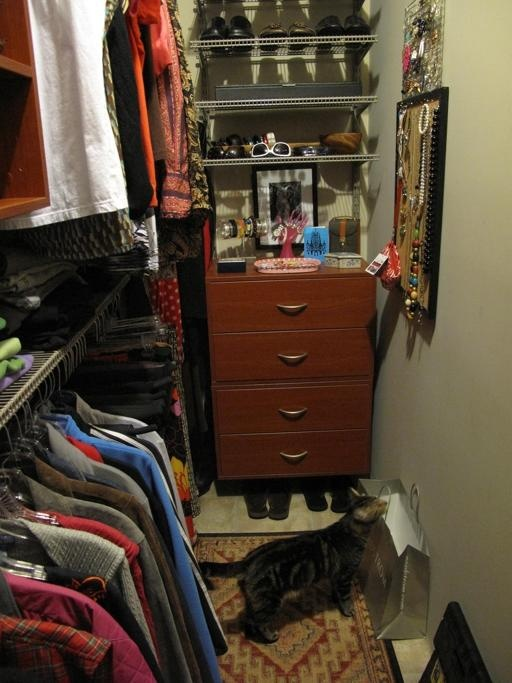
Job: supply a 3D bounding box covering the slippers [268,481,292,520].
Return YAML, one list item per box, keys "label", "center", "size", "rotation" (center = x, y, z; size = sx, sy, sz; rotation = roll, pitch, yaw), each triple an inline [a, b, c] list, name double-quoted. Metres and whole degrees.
- label: "slippers"
  center: [0.099, 0.670, 2.164]
  size: [0.061, 0.095, 0.203]
  rotation: [0, -1, 5]

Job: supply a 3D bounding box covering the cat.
- label: "cat"
  center: [0.115, 0.705, 1.608]
  size: [0.471, 0.300, 0.122]
  rotation: [-22, 30, -8]

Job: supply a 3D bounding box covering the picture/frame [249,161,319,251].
- label: "picture/frame"
  center: [0.131, -0.577, 2.228]
  size: [0.285, 0.419, 0.025]
  rotation: [-2, -16, 1]

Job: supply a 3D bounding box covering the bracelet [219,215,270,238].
- label: "bracelet"
  center: [-0.029, -0.466, 2.159]
  size: [0.161, 0.088, 0.273]
  rotation: [5, 17, 21]

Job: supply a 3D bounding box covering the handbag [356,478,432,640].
- label: "handbag"
  center: [0.366, 0.578, 1.367]
  size: [0.096, 0.283, 0.271]
  rotation: [5, 4, 3]

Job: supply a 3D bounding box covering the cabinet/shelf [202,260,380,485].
- label: "cabinet/shelf"
  center: [0.139, 0.019, 2.227]
  size: [0.626, 0.967, 0.607]
  rotation: [0, 30, 3]

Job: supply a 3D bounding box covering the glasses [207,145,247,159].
- label: "glasses"
  center: [-0.111, -0.727, 1.985]
  size: [0.103, 0.041, 0.067]
  rotation: [2, 25, -1]

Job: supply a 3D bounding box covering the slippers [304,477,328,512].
- label: "slippers"
  center: [0.251, 0.656, 2.202]
  size: [0.070, 0.096, 0.235]
  rotation: [-2, 0, -1]

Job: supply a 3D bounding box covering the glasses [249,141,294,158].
- label: "glasses"
  center: [0.059, -0.734, 2.008]
  size: [0.163, 0.060, 0.149]
  rotation: [-1, 16, 1]
